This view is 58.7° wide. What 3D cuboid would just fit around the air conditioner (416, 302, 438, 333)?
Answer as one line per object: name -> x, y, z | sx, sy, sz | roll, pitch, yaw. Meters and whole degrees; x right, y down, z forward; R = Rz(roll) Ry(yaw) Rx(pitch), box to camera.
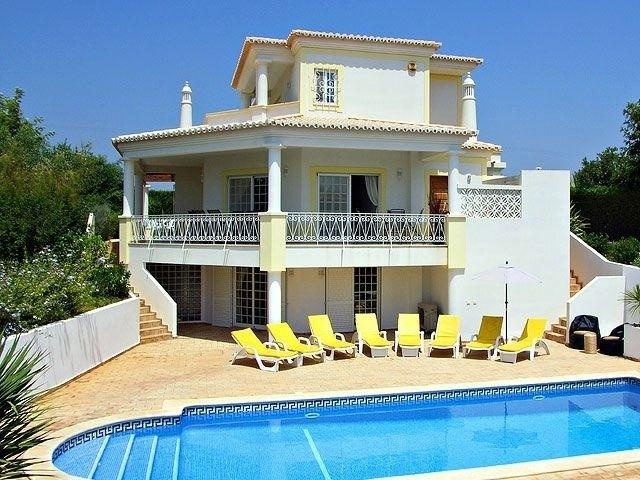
air conditioner -> 4.213, 3.021, 22.599 | 0.332, 1.067, 1.129 | -1, -1, -16
